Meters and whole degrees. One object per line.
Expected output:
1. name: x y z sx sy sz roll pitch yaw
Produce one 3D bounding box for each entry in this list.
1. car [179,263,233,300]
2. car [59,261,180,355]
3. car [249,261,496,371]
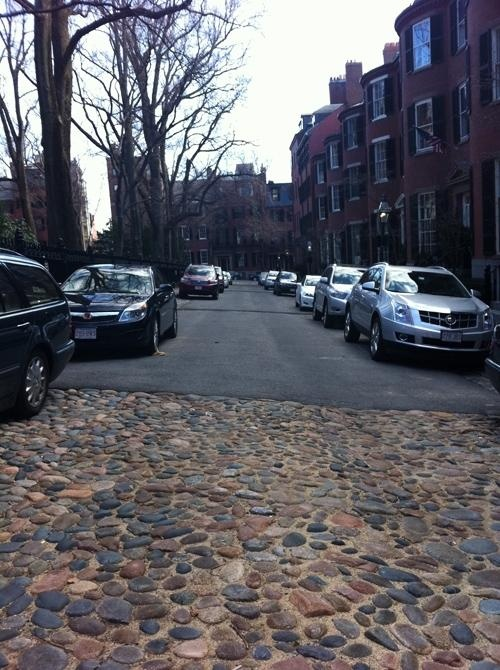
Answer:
1. car: -3.070 -3.301 30.748 2.549 2.218 2.078 3 4 42
2. car: -2.570 -0.580 9.914 1.921 1.847 2.580 0 3 -11
3. car: 3.186 -0.566 10.289 1.994 1.977 4.175 0 3 -7
